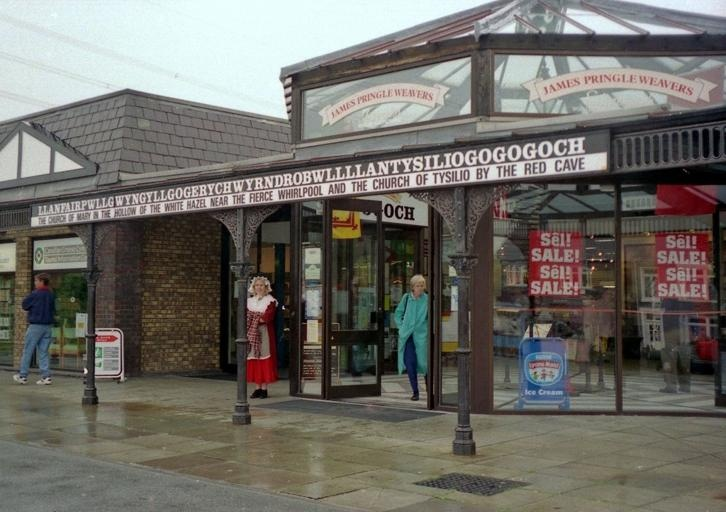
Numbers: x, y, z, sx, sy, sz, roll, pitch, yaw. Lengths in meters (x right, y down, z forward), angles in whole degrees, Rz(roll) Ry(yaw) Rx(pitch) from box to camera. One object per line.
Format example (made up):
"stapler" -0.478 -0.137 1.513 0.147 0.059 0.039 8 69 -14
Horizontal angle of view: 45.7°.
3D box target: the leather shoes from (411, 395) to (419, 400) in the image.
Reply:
"leather shoes" 0.913 2.522 15.375 0.130 0.087 0.240 -2 -7 0

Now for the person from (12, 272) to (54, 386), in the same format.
"person" -6.677 1.470 17.720 0.641 2.310 0.902 1 -8 -21

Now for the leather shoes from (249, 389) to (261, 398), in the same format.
"leather shoes" -1.971 2.543 15.933 0.101 0.098 0.265 -4 -10 25

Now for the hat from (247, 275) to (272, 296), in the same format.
"hat" -1.912 0.547 16.362 0.521 0.484 0.144 -4 -50 5

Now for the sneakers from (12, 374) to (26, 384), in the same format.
"sneakers" -7.060 2.555 17.909 0.445 0.176 0.174 9 5 43

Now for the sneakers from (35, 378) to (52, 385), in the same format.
"sneakers" -6.542 2.562 17.732 0.387 0.151 0.147 2 0 39

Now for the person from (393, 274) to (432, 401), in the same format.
"person" 0.878 1.450 15.342 0.597 2.208 0.393 -4 -8 14

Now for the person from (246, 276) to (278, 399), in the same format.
"person" -1.857 1.488 15.865 0.539 2.229 0.620 -1 -8 -6
